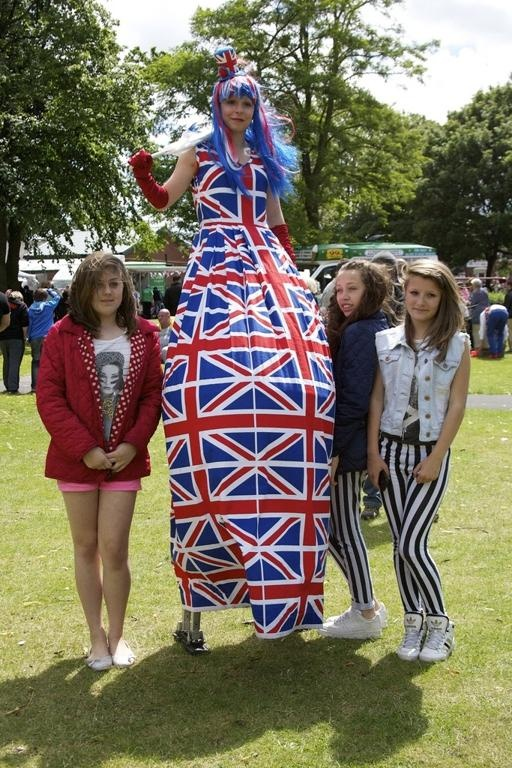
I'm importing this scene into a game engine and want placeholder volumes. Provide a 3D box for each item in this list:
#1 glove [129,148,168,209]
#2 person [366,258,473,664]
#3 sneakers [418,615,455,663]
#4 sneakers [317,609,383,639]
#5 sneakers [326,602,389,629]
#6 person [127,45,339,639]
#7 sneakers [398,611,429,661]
[{"bbox_3d":[-0.435,-0.827,3.041,0.140,0.237,0.080,-9,40,0],"label":"glove"},{"bbox_3d":[0.658,0.288,2.980,0.343,1.548,0.438,-1,8,-26],"label":"person"},{"bbox_3d":[0.697,0.990,2.871,0.085,0.102,0.243,-3,-5,13],"label":"sneakers"},{"bbox_3d":[0.404,1.003,3.202,0.317,0.133,0.121,1,-1,2],"label":"sneakers"},{"bbox_3d":[0.406,0.983,3.211,0.323,0.116,0.103,-1,-2,-15],"label":"sneakers"},{"bbox_3d":[-0.076,-0.232,2.867,0.773,2.239,0.938,1,7,-11],"label":"person"},{"bbox_3d":[0.617,0.996,2.952,0.075,0.101,0.219,-10,6,18],"label":"sneakers"}]
